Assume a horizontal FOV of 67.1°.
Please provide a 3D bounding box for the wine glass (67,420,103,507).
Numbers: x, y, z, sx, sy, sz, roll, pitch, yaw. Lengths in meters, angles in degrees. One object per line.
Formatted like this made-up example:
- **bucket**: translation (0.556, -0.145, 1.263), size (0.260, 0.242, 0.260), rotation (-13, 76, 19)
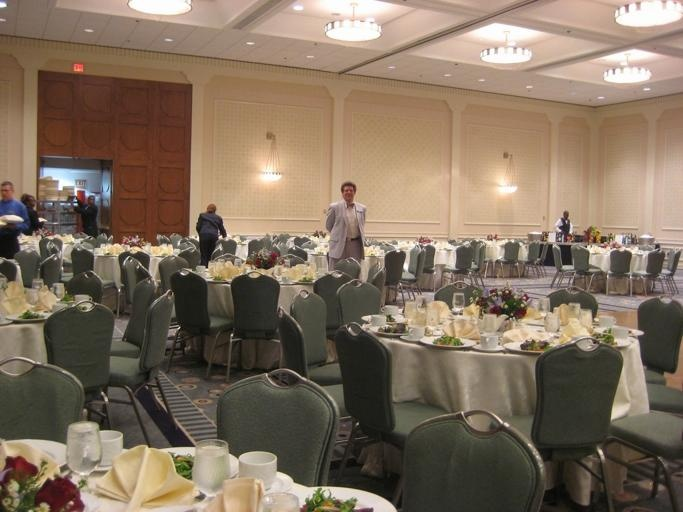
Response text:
- **wine glass**: translation (-0.718, 0.557, 1.437), size (0.079, 0.220, 0.290), rotation (0, 3, -26)

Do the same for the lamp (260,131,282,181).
- **lamp**: translation (-1.851, -2.595, 13.566), size (0.555, 1.336, 0.151), rotation (1, 3, -15)

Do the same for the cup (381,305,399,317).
- **cup**: translation (0.366, 0.402, 3.798), size (0.098, 0.063, 0.075), rotation (-3, 3, -8)

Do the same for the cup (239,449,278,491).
- **cup**: translation (-0.228, 0.582, 1.418), size (0.091, 0.077, 0.098), rotation (2, 5, 0)

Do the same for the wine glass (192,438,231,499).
- **wine glass**: translation (-0.355, 0.577, 1.406), size (0.089, 0.130, 0.091), rotation (2, 3, -15)

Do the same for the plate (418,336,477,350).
- **plate**: translation (0.647, 0.517, 3.119), size (0.340, 0.051, 0.311), rotation (3, 2, 28)

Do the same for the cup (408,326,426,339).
- **cup**: translation (0.466, 0.473, 3.187), size (0.086, 0.071, 0.068), rotation (-2, 1, -9)

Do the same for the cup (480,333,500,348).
- **cup**: translation (0.864, 0.496, 2.988), size (0.071, 0.065, 0.093), rotation (2, -8, -23)

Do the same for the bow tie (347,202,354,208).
- **bow tie**: translation (0.140, -0.720, 7.361), size (0.112, 0.062, 0.051), rotation (1, 2, -19)

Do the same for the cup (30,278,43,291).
- **cup**: translation (-2.310, 0.223, 3.904), size (0.090, 0.092, 0.089), rotation (3, 4, 0)

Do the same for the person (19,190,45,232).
- **person**: translation (-5.170, -0.562, 8.604), size (0.353, 1.044, 0.406), rotation (-2, 44, -38)

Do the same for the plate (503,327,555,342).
- **plate**: translation (1.139, 0.494, 3.216), size (0.179, 0.058, 0.143), rotation (-6, -9, -7)

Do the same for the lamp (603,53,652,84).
- **lamp**: translation (7.124, -4.690, 12.811), size (0.901, 0.590, 0.938), rotation (0, 2, 6)

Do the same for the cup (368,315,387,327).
- **cup**: translation (0.254, 0.447, 3.566), size (0.082, 0.059, 0.065), rotation (-3, 0, 2)

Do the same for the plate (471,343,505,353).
- **plate**: translation (0.859, 0.534, 3.010), size (0.185, 0.035, 0.163), rotation (3, 2, 17)

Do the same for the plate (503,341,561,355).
- **plate**: translation (1.081, 0.533, 2.999), size (0.266, 0.049, 0.234), rotation (3, 2, 26)

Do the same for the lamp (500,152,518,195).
- **lamp**: translation (5.451, -2.653, 16.568), size (0.666, 1.374, 0.325), rotation (0, 3, -34)
